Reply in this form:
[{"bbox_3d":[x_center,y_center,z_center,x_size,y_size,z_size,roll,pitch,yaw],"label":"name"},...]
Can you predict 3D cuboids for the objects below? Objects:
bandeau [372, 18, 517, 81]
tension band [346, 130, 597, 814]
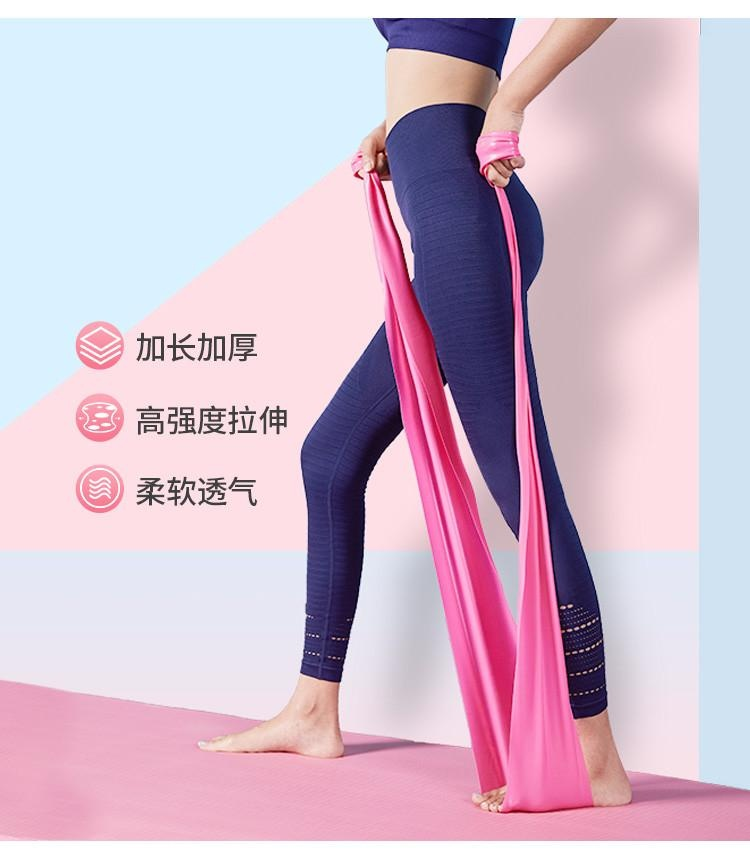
[{"bbox_3d":[0.107,-0.528,1.264,0.127,0.077,0.120,8,3,20],"label":"bandeau"},{"bbox_3d":[0.124,0.050,1.250,0.149,0.880,0.353,5,-3,-40],"label":"tension band"}]
